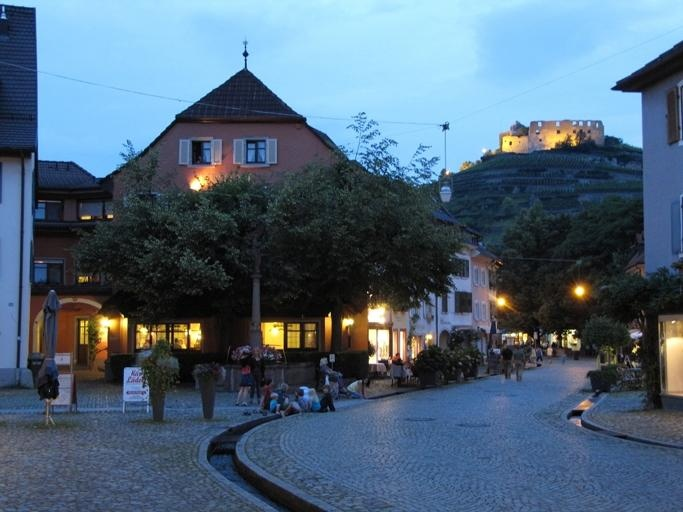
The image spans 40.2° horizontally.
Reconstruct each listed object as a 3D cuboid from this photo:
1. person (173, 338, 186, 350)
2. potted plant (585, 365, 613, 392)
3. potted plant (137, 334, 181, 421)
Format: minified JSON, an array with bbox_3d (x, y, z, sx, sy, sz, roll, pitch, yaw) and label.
[{"bbox_3d":[-8.000,4.437,46.588,0.841,0.516,0.857,1,14,-5],"label":"person"},{"bbox_3d":[10.081,4.861,36.182,0.780,0.861,1.116,7,-12,-44],"label":"potted plant"},{"bbox_3d":[-5.113,3.534,26.339,1.001,2.286,1.201,1,-8,-11],"label":"potted plant"}]
